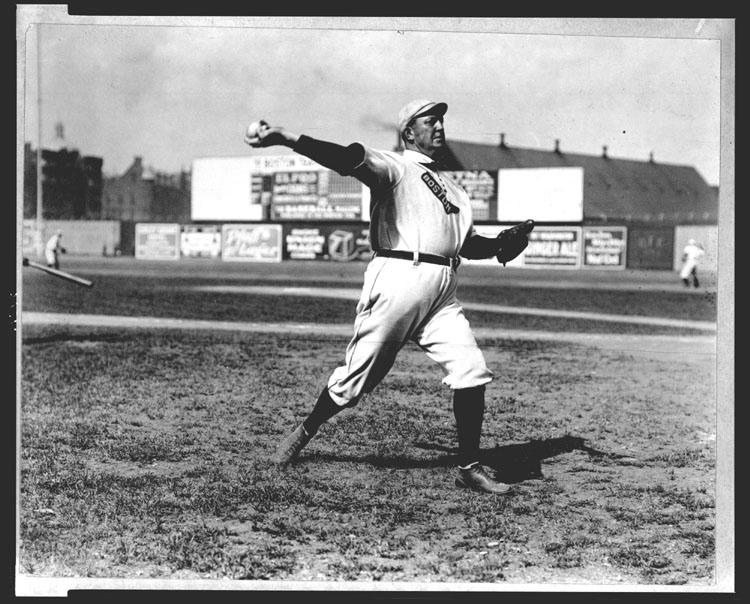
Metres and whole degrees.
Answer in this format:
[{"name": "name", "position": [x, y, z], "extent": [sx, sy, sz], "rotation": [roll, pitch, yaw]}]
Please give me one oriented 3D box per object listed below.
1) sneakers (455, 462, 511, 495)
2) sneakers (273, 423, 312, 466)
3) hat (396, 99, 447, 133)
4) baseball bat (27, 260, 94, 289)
[{"name": "sneakers", "position": [0.513, 0.860, 7.019], "extent": [0.175, 0.080, 0.177], "rotation": [28, -13, 8]}, {"name": "sneakers", "position": [-0.400, 0.703, 7.110], "extent": [0.123, 0.248, 0.099], "rotation": [46, 2, 26]}, {"name": "hat", "position": [0.221, -0.911, 6.943], "extent": [0.188, 0.101, 0.130], "rotation": [-21, -8, 30]}, {"name": "baseball bat", "position": [-1.529, -0.141, 7.030], "extent": [0.202, 0.044, 0.051], "rotation": [22, -22, -7]}]
